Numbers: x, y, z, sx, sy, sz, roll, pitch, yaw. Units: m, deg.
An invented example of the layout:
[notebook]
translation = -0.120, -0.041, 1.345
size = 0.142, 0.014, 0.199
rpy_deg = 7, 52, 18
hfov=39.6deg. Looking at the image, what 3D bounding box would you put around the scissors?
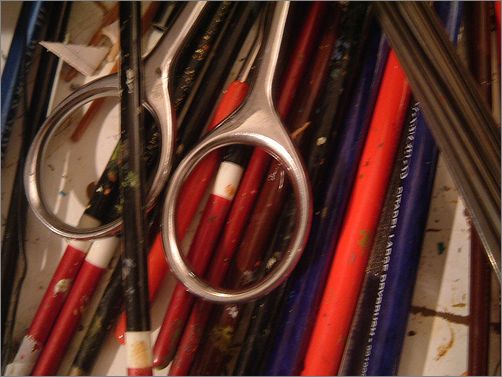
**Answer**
[scissors]
translation = -0.052, -0.064, 0.863
size = 0.253, 0.461, 0.033
rpy_deg = 20, -16, 14
